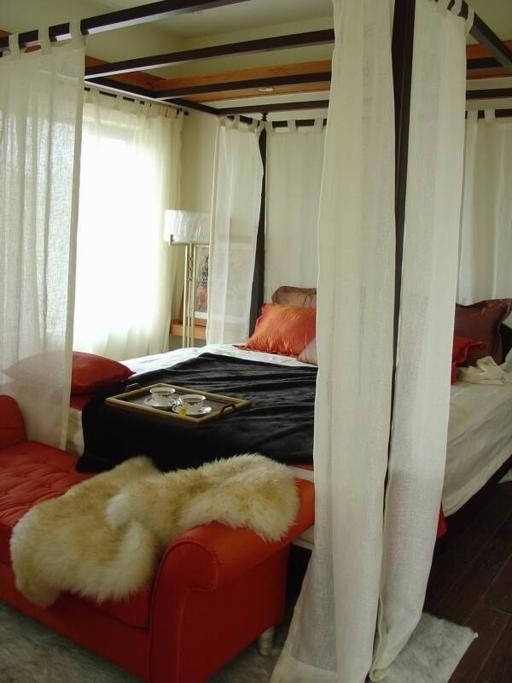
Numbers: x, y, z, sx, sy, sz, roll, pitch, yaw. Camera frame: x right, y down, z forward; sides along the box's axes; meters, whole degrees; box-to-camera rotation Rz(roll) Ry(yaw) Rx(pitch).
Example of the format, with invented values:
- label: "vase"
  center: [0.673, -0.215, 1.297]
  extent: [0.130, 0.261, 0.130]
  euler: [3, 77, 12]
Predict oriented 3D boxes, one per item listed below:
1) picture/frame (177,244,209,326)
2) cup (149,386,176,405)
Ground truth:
- label: "picture/frame"
  center: [-0.494, -0.460, 4.541]
  extent: [0.133, 0.564, 0.583]
  euler: [3, 1, -12]
- label: "cup"
  center: [-0.382, 0.225, 2.248]
  extent: [0.084, 0.034, 0.072]
  euler: [7, 8, 27]
